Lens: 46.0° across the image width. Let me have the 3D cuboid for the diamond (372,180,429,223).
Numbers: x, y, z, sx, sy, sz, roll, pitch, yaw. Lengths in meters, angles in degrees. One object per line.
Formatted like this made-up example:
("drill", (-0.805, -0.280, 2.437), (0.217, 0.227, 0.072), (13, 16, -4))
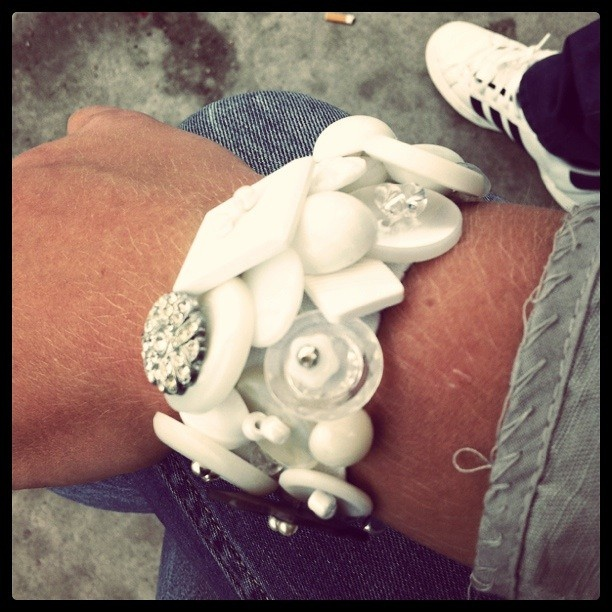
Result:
("diamond", (0.128, -0.138, 0.929), (0.075, 0.083, 0.031), (-20, 110, 7))

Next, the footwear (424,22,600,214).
("footwear", (0.411, -0.374, 1.395), (0.434, 0.305, 0.157), (45, 102, 18))

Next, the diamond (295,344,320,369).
("diamond", (0.003, 0.061, 0.858), (0.028, 0.006, 0.027), (1, 84, 1))

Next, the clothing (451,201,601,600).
("clothing", (0.298, 0.117, 0.906), (0.213, 0.133, 0.389), (-1, 96, 37))

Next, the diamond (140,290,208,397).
("diamond", (-0.161, 0.049, 0.881), (0.095, 0.034, 0.121), (-7, 80, 42))
